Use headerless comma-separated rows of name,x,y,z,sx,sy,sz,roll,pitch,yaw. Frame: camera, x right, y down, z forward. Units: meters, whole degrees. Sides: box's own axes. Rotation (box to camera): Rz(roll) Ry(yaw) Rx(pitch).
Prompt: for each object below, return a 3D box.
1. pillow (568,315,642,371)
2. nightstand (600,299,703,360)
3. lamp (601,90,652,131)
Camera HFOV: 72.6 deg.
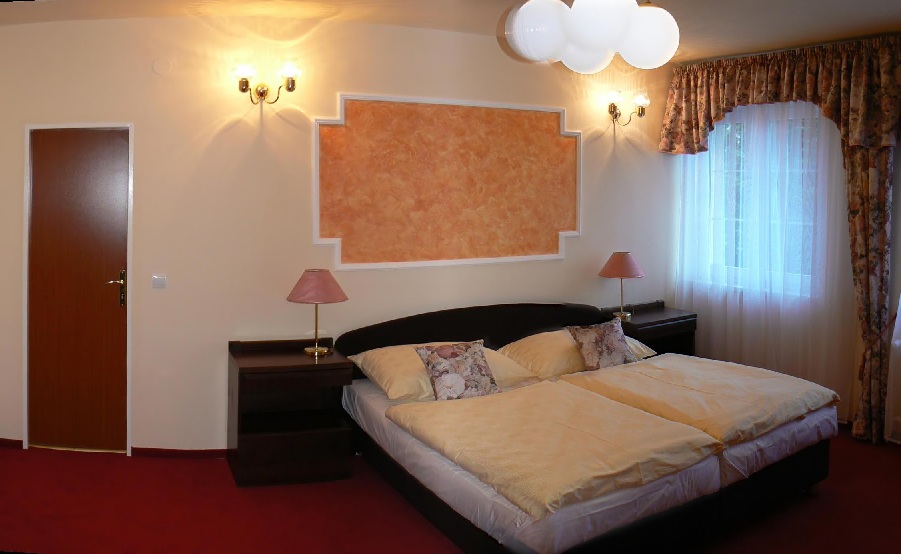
pillow,1.472,0.668,5.917,0.528,0.489,0.155,-15,-17,-32
nightstand,2.321,0.539,6.933,1.069,1.015,0.574,-6,11,-34
lamp,1.988,-1.859,6.820,0.584,0.402,0.115,-7,8,-34
